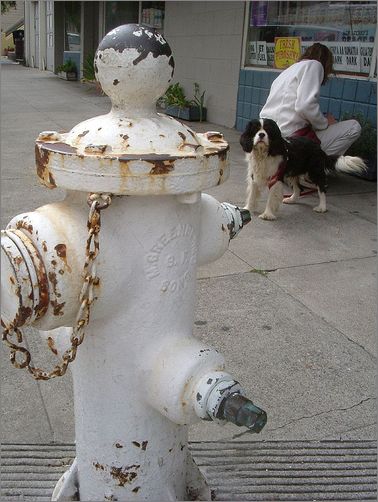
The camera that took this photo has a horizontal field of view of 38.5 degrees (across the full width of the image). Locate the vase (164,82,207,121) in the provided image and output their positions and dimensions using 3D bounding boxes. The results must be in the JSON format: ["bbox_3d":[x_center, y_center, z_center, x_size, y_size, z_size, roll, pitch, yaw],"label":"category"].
[{"bbox_3d":[-0.256,-3.071,10.886,0.926,0.572,0.518,16,27,8],"label":"vase"}]

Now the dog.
[{"bbox_3d":[1.151,-0.850,5.576,1.685,0.832,0.617,-9,17,-37],"label":"dog"}]
